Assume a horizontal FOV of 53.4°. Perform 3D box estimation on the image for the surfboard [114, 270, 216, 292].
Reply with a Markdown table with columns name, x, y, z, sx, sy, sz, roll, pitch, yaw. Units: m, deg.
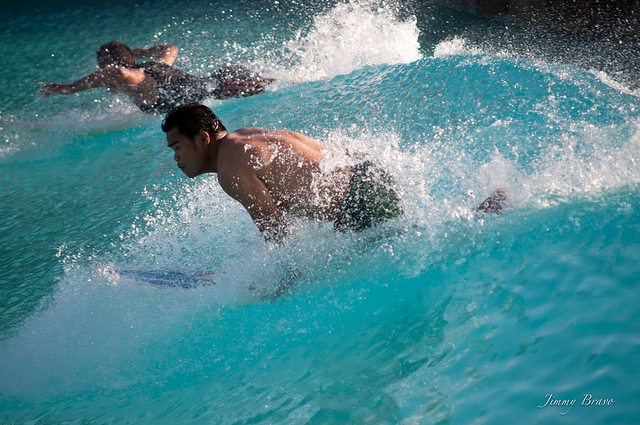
| name | x | y | z | sx | sy | sz | roll | pitch | yaw |
| --- | --- | --- | --- | --- | --- | --- | --- | --- | --- |
| surfboard | -1.224 | 0.539 | 5.216 | 0.871 | 0.080 | 0.242 | 3 | 43 | 9 |

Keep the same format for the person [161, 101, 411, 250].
| name | x | y | z | sx | sy | sz | roll | pitch | yaw |
| --- | --- | --- | --- | --- | --- | --- | --- | --- | --- |
| person | -0.231 | -0.255 | 5.324 | 2.644 | 1.058 | 0.798 | 9 | 26 | 37 |

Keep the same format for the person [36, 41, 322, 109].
| name | x | y | z | sx | sy | sz | roll | pitch | yaw |
| --- | --- | --- | --- | --- | --- | --- | --- | --- | --- |
| person | -1.642 | -1.600 | 7.461 | 2.912 | 0.669 | 1.386 | -1 | 17 | 3 |

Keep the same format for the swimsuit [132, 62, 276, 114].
| name | x | y | z | sx | sy | sz | roll | pitch | yaw |
| --- | --- | --- | --- | --- | --- | --- | --- | --- | --- |
| swimsuit | -1.318 | -1.368 | 7.389 | 1.289 | 0.310 | 0.672 | 0 | 59 | -18 |
